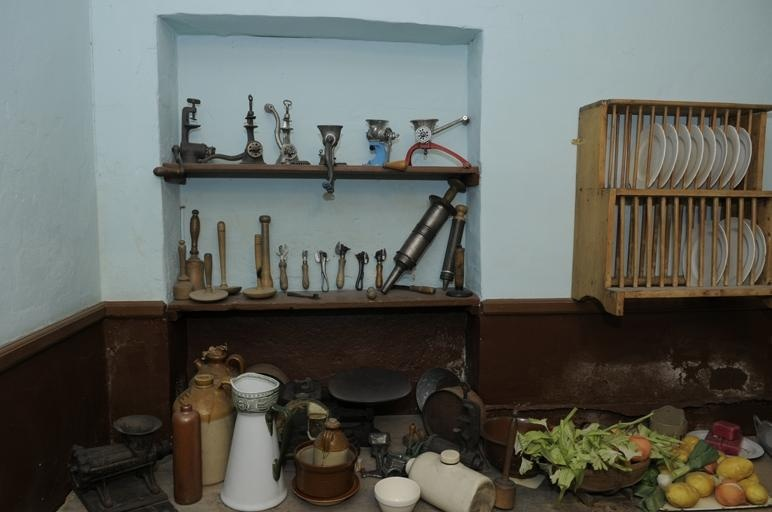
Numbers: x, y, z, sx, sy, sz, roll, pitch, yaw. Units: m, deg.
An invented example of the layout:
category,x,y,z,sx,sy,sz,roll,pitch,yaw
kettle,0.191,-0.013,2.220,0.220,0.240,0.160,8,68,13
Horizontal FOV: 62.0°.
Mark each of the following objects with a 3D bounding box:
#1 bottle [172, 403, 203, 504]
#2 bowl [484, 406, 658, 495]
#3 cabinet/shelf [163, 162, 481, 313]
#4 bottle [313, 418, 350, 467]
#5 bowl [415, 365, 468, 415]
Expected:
category,x,y,z,sx,sy,sz,roll,pitch,yaw
bottle,-1.066,1.057,3.437,0.159,0.538,0.123,-3,8,-19
bowl,1.016,1.057,3.556,0.646,0.295,0.502,-4,0,-1
cabinet/shelf,-0.405,-0.218,4.011,1.934,0.725,0.335,-1,8,-7
bottle,-0.288,0.991,3.410,0.196,0.222,0.116,-1,8,-7
bowl,0.342,0.855,4.058,0.313,0.228,0.377,0,8,2
